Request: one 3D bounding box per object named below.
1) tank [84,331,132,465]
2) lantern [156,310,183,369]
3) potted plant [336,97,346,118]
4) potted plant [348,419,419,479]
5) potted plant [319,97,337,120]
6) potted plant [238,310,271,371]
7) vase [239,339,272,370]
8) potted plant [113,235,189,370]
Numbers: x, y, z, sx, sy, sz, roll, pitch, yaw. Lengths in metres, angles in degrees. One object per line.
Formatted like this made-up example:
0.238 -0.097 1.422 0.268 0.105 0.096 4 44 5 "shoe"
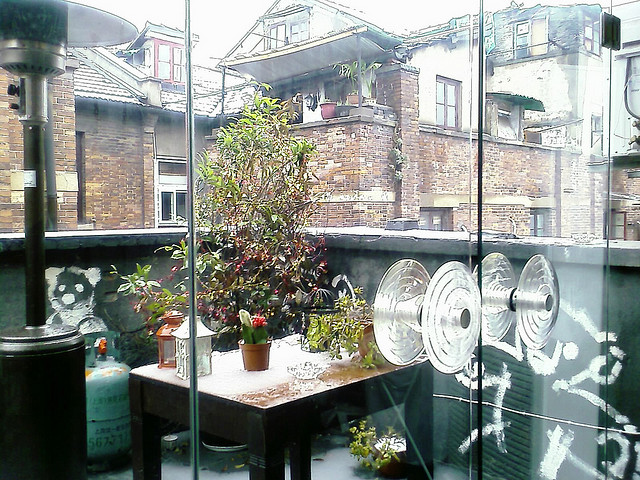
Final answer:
-0.603 0.439 1.564 0.127 0.400 0.141 6 7 36 "tank"
-0.420 0.273 1.539 0.096 0.152 0.103 0 -1 -1 "lantern"
0.059 -0.398 1.660 0.043 0.035 0.045 2 -4 -1 "potted plant"
0.202 0.704 1.877 0.196 0.143 0.237 0 -10 -1 "potted plant"
0.025 -0.396 1.676 0.055 0.045 0.056 1 -2 -17 "potted plant"
-0.193 0.301 1.649 0.091 0.183 0.096 -11 -12 1 "potted plant"
-0.193 0.337 1.652 0.091 0.076 0.093 -1 3 -25 "vase"
-0.431 0.169 1.579 0.190 0.357 0.187 -10 -16 3 "potted plant"
